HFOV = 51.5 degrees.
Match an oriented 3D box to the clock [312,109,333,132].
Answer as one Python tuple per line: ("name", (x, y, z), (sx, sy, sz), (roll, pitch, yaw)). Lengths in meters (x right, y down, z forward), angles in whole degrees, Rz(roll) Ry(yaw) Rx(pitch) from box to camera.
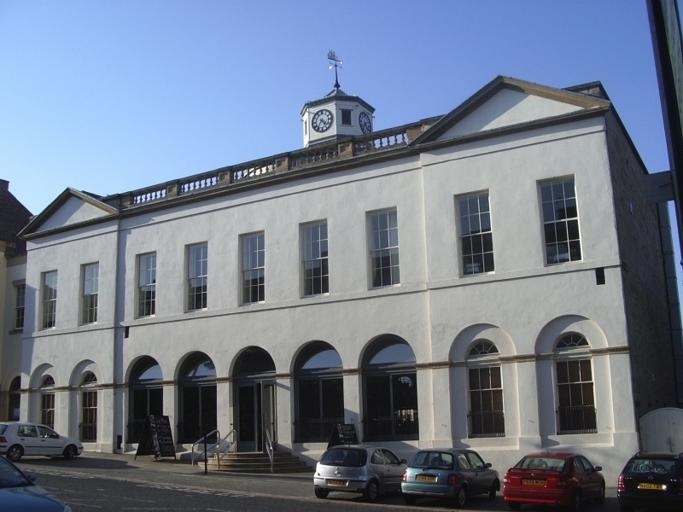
("clock", (-1.257, -9.501, 49.958), (1.260, 1.359, 0.094), (30, 18, 39))

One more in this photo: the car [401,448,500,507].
("car", (3.183, 6.426, 20.554), (2.793, 1.608, 1.407), (11, -21, -38))

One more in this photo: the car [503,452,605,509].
("car", (5.983, 6.296, 19.763), (2.952, 1.564, 1.449), (10, -20, -35))

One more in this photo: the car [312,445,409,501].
("car", (0.717, 6.396, 21.524), (1.455, 1.223, 2.499), (-9, -12, 35))

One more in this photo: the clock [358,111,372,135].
("clock", (1.742, -9.460, 50.747), (0.221, 1.948, 1.729), (-11, -18, 30))
